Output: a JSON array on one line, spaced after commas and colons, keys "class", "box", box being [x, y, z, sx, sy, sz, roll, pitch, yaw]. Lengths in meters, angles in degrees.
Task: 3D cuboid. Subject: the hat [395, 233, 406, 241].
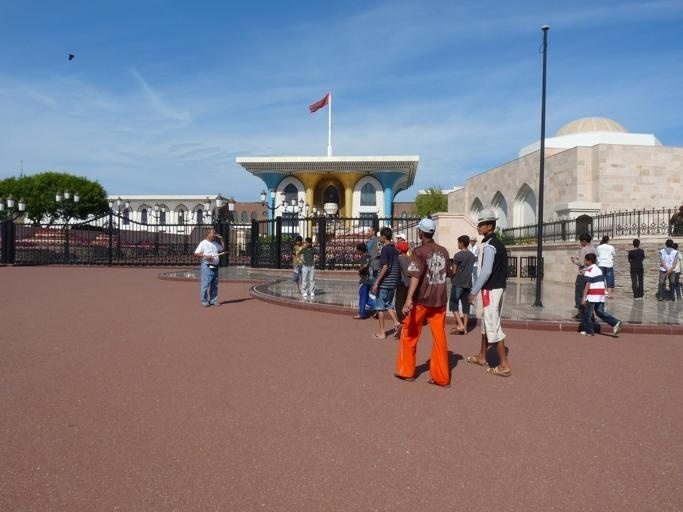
[{"class": "hat", "box": [1.233, -0.387, 12.718, 0.252, 0.152, 0.197, -1, 1, -13]}]

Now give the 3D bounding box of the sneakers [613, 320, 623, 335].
[{"class": "sneakers", "box": [5.198, 1.357, 12.035, 0.084, 0.274, 0.103, -10, 28, -33]}]

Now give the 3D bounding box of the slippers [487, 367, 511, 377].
[{"class": "slippers", "box": [2.321, 1.705, 9.431, 0.251, 0.086, 0.146, 8, 8, 38]}]

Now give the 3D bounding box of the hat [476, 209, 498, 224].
[{"class": "hat", "box": [2.218, -0.605, 9.679, 0.256, 0.193, 0.214, 1, 3, -14]}]

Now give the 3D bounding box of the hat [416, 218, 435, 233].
[{"class": "hat", "box": [1.207, -0.436, 9.190, 0.244, 0.254, 0.388, 2, 12, 7]}]
